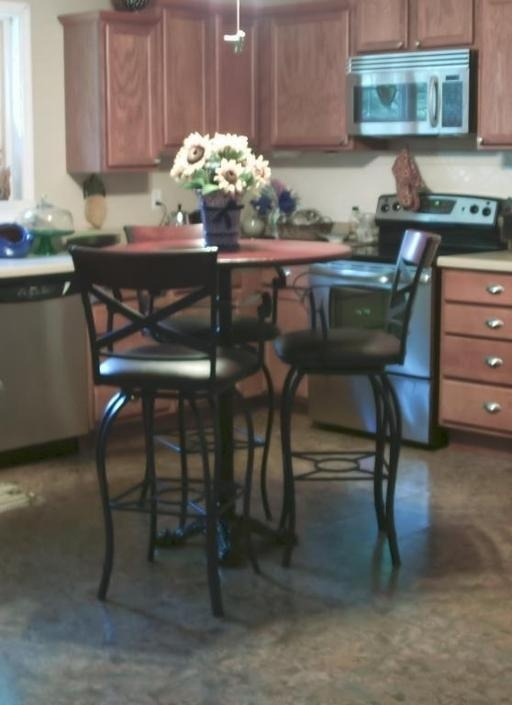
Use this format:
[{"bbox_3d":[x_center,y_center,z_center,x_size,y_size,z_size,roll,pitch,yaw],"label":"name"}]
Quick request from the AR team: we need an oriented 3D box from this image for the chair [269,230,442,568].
[{"bbox_3d":[0.309,0.134,2.153,0.449,1.031,0.384,2,9,6],"label":"chair"}]

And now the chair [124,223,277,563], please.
[{"bbox_3d":[-0.187,0.147,2.241,0.407,0.924,0.406,14,29,39],"label":"chair"}]

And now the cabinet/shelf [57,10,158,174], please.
[{"bbox_3d":[-0.706,-1.450,3.639,0.323,0.685,0.387,-7,30,-20],"label":"cabinet/shelf"}]

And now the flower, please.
[{"bbox_3d":[-0.104,-0.531,1.898,0.279,0.196,0.235,0,4,0],"label":"flower"}]

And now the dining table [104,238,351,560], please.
[{"bbox_3d":[0.006,0.111,2.147,0.829,1.088,0.872,-2,6,-20],"label":"dining table"}]

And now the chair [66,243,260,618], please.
[{"bbox_3d":[-0.246,0.194,1.876,0.488,0.914,0.885,0,4,-1],"label":"chair"}]

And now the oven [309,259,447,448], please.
[{"bbox_3d":[0.616,0.199,3.708,0.757,0.920,0.795,-6,-33,35],"label":"oven"}]

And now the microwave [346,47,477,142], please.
[{"bbox_3d":[0.767,-1.301,3.555,0.624,0.430,0.389,2,5,13],"label":"microwave"}]
